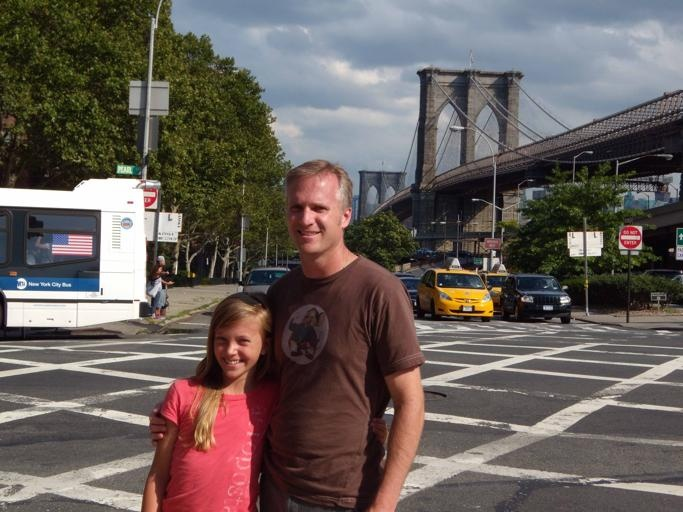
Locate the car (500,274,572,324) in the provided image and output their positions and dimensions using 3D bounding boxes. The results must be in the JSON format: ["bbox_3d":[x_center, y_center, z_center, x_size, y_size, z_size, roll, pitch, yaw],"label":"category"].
[{"bbox_3d":[6.820,1.446,29.244,1.931,1.502,2.837,-2,0,-1],"label":"car"}]

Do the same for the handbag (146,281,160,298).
[{"bbox_3d":[-5.188,0.898,23.135,0.299,0.437,0.225,-4,-30,32],"label":"handbag"}]

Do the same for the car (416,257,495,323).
[{"bbox_3d":[3.841,1.321,28.794,1.970,1.630,3.126,-2,0,-9],"label":"car"}]

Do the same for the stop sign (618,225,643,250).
[{"bbox_3d":[9.739,-0.615,28.279,0.904,1.006,0.135,2,1,5],"label":"stop sign"}]

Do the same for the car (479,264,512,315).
[{"bbox_3d":[6.970,1.389,36.674,1.705,1.890,3.373,0,-5,-2],"label":"car"}]
